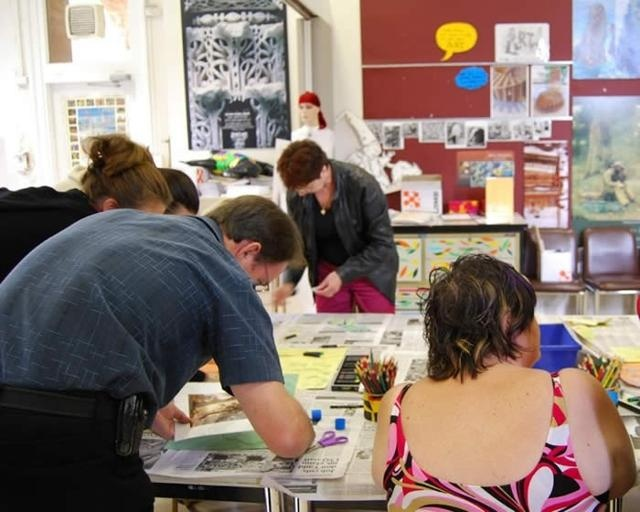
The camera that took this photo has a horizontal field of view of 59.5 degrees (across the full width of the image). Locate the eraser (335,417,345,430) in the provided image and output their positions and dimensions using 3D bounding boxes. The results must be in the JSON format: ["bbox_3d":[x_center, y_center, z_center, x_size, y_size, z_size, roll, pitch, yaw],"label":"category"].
[{"bbox_3d":[0.058,0.460,1.533,0.027,0.024,0.026,-4,17,-8],"label":"eraser"}]
